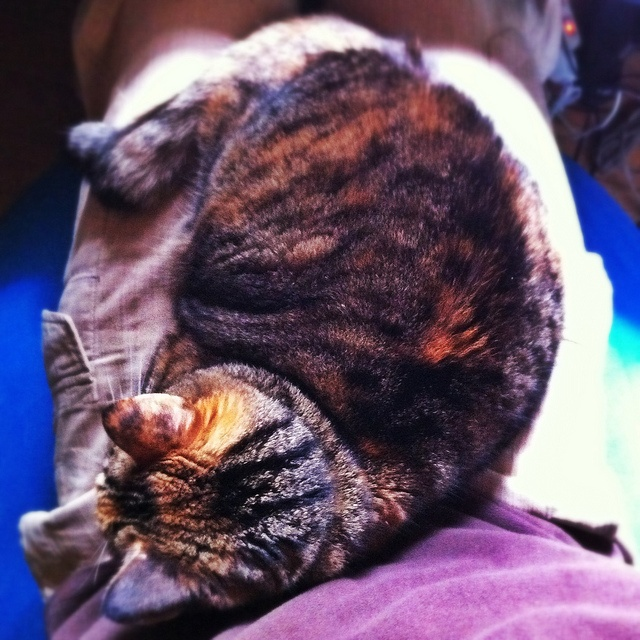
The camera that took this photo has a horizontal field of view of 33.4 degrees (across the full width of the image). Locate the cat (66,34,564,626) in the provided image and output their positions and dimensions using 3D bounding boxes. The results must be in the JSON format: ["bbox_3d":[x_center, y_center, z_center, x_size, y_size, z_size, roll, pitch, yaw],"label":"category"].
[{"bbox_3d":[-0.014,-0.025,1.440,0.681,0.154,0.741,-12,74,-5],"label":"cat"}]

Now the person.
[{"bbox_3d":[-0.044,0.059,1.457,0.585,0.435,1.040,-1,98,-9],"label":"person"}]
